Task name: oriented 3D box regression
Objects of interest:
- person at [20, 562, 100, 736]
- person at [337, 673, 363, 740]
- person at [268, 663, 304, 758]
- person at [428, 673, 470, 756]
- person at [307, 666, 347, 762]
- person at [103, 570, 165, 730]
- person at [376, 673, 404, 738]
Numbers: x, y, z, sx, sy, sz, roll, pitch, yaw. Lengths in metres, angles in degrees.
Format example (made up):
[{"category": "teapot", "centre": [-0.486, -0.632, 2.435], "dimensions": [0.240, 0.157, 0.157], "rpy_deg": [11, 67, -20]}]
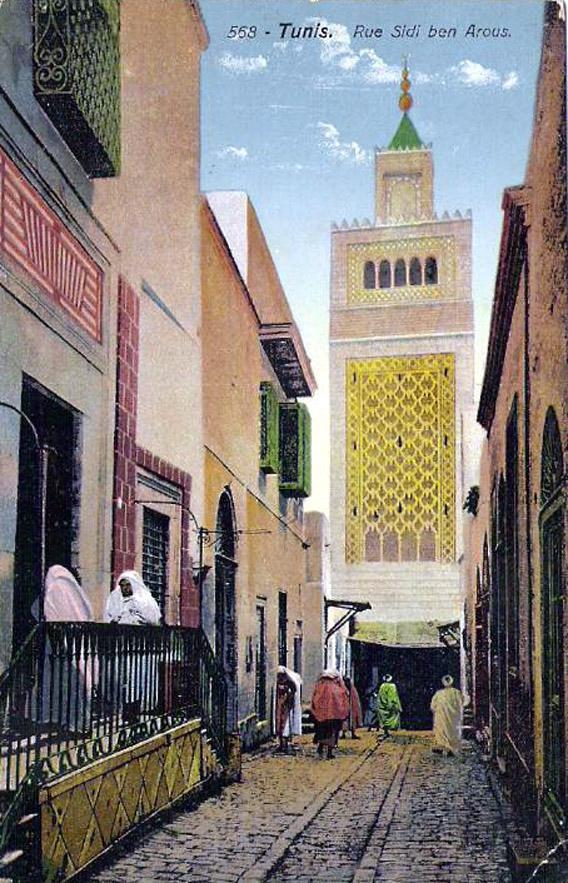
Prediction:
[{"category": "person", "centre": [-1.119, 0.955, 6.013], "dimensions": [0.219, 0.341, 0.863], "rpy_deg": [3, -45, -1]}, {"category": "person", "centre": [0.960, 3.960, 16.731], "dimensions": [0.228, 0.999, 0.238], "rpy_deg": [1, 35, 6]}, {"category": "person", "centre": [0.062, 2.992, 12.795], "dimensions": [0.200, 1.096, 0.247], "rpy_deg": [1, 14, 6]}, {"category": "person", "centre": [2.048, 3.474, 14.332], "dimensions": [0.400, 1.020, 1.218], "rpy_deg": [-3, -13, 7]}, {"category": "person", "centre": [0.527, 3.172, 13.177], "dimensions": [0.426, 1.029, 0.677], "rpy_deg": [-2, -11, 3]}, {"category": "person", "centre": [-0.972, 1.266, 7.102], "dimensions": [0.308, 1.010, 1.061], "rpy_deg": [-1, -13, -3]}, {"category": "person", "centre": [1.566, 4.169, 17.560], "dimensions": [0.364, 1.108, 0.360], "rpy_deg": [-13, -53, 18]}]
